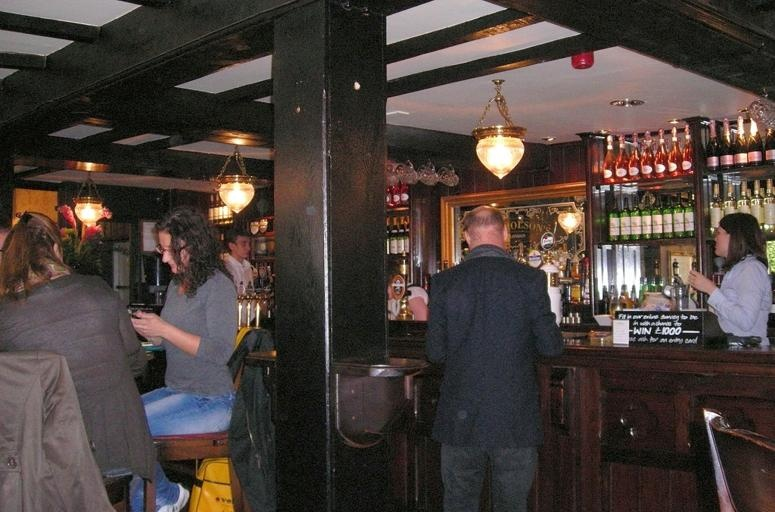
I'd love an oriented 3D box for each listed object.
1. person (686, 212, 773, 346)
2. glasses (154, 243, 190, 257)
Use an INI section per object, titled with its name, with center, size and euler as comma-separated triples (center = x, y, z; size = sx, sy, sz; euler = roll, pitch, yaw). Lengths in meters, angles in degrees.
[person]
center = 2.312, 0.150, 4.480
size = 0.499, 0.906, 0.633
euler = -1, -1, 24
[glasses]
center = -1.313, -0.040, 4.065
size = 0.168, 0.048, 0.175
euler = 0, -6, 36
